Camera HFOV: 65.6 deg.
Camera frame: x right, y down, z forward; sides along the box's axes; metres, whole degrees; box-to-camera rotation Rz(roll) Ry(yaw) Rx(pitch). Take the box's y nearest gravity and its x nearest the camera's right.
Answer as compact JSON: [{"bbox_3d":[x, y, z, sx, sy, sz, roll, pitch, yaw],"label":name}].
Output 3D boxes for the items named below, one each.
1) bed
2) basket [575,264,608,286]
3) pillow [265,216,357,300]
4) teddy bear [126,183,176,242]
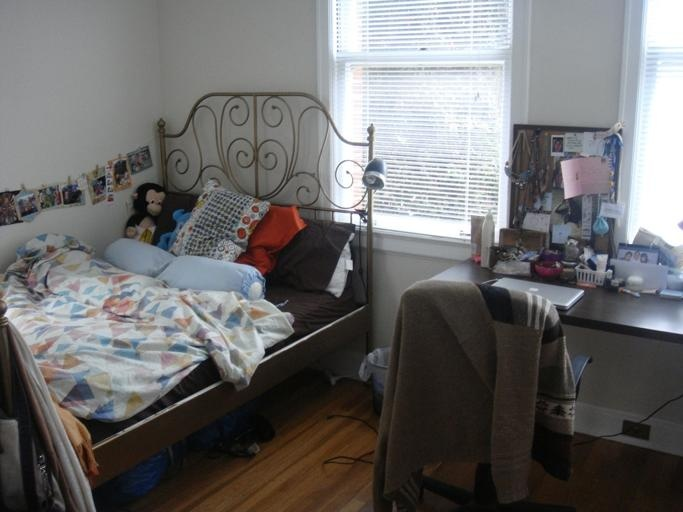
[{"bbox_3d":[-0.673,0.190,3.225,1.803,1.432,1.662,-28,39,-37],"label":"bed"},{"bbox_3d":[1.240,0.094,2.631,0.107,0.064,0.077,4,10,34],"label":"basket"},{"bbox_3d":[-0.203,0.004,3.290,0.489,0.401,0.278,7,17,27],"label":"pillow"},{"bbox_3d":[-1.349,-0.298,3.742,0.283,0.472,0.187,12,-18,-26],"label":"teddy bear"}]
